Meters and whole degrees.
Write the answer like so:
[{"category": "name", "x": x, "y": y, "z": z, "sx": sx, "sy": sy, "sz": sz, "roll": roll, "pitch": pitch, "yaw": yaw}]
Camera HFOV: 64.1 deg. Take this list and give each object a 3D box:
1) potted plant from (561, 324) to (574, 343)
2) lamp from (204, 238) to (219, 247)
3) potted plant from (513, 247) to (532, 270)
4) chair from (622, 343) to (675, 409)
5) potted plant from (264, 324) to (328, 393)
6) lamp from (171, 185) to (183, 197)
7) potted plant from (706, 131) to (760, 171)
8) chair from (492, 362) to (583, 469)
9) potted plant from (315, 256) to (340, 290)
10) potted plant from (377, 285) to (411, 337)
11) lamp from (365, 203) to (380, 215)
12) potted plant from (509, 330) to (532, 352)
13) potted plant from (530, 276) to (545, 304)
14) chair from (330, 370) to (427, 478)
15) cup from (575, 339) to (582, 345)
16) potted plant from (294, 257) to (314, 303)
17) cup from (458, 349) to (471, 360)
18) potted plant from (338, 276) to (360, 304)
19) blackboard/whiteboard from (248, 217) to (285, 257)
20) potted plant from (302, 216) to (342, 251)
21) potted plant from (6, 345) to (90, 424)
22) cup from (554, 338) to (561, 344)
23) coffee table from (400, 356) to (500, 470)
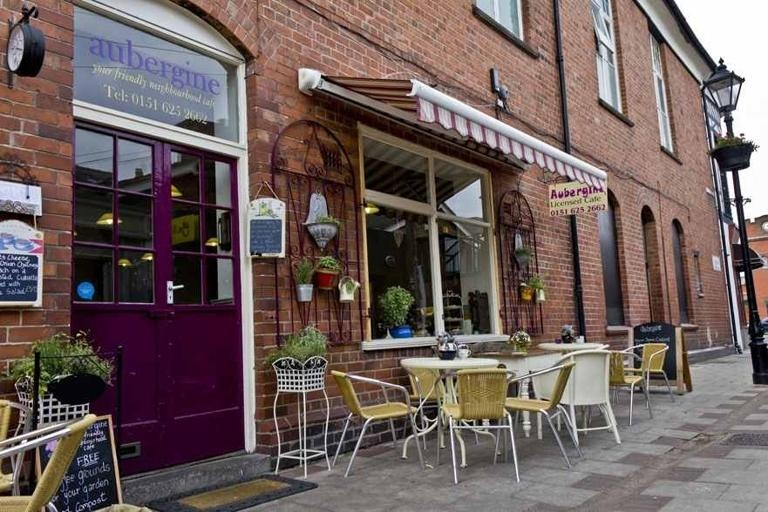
[{"category": "potted plant", "x": 2.920, "y": 1.246, "z": 9.718, "sx": 0.276, "sy": 0.374, "sz": 0.304, "roll": -2, "pitch": -3, "yaw": 17}, {"category": "lamp", "x": -1.926, "y": -0.153, "z": 6.857, "sx": 0.101, "sy": 0.073, "sz": 0.100, "roll": 0, "pitch": 0, "yaw": -8}, {"category": "potted plant", "x": 2.409, "y": 0.037, "z": 10.442, "sx": 0.210, "sy": 0.358, "sz": 0.402, "roll": -1, "pitch": -1, "yaw": 37}, {"category": "chair", "x": 4.415, "y": 2.007, "z": 10.140, "sx": 0.866, "sy": 1.133, "sz": 0.944, "roll": 11, "pitch": -15, "yaw": -41}, {"category": "potted plant", "x": -0.926, "y": 1.197, "z": 6.805, "sx": 0.630, "sy": 0.764, "sz": 0.582, "roll": -1, "pitch": -1, "yaw": 29}, {"category": "lamp", "x": -2.249, "y": -0.700, "z": 6.668, "sx": 0.104, "sy": 0.113, "sz": 0.112, "roll": -10, "pitch": -17, "yaw": 11}, {"category": "potted plant", "x": 7.362, "y": -2.186, "z": 12.975, "sx": 0.556, "sy": 0.807, "sz": 0.743, "roll": 0, "pitch": -1, "yaw": -40}, {"category": "chair", "x": 2.028, "y": 1.690, "z": 7.168, "sx": 1.192, "sy": 1.309, "sz": 1.079, "roll": 1, "pitch": -3, "yaw": 31}, {"category": "potted plant", "x": -0.709, "y": 0.208, "z": 7.442, "sx": 0.354, "sy": 0.360, "sz": 0.338, "roll": 2, "pitch": -6, "yaw": 12}, {"category": "potted plant", "x": 0.118, "y": 0.759, "z": 8.296, "sx": 0.409, "sy": 0.674, "sz": 0.634, "roll": -10, "pitch": -12, "yaw": 36}, {"category": "lamp", "x": -0.165, "y": -0.631, "z": 8.244, "sx": 0.163, "sy": 0.072, "sz": 0.146, "roll": 4, "pitch": -5, "yaw": -45}, {"category": "potted plant", "x": 1.904, "y": 1.185, "z": 8.669, "sx": 0.366, "sy": 0.355, "sz": 0.354, "roll": 5, "pitch": -9, "yaw": -41}, {"category": "potted plant", "x": 2.663, "y": 0.566, "z": 10.605, "sx": 0.232, "sy": 0.512, "sz": 0.390, "roll": -1, "pitch": -1, "yaw": 15}, {"category": "chair", "x": -0.027, "y": 1.806, "z": 7.204, "sx": 1.213, "sy": 1.345, "sz": 1.039, "roll": -1, "pitch": -2, "yaw": -18}, {"category": "cup", "x": 3.143, "y": 1.378, "z": 9.863, "sx": 0.098, "sy": 0.071, "sz": 0.100, "roll": 1, "pitch": -3, "yaw": 0}, {"category": "potted plant", "x": -0.915, "y": 0.281, "z": 7.244, "sx": 0.167, "sy": 0.534, "sz": 0.312, "roll": -1, "pitch": -1, "yaw": 38}, {"category": "cup", "x": 1.007, "y": 1.222, "z": 7.683, "sx": 0.124, "sy": 0.098, "sz": 0.157, "roll": -1, "pitch": -6, "yaw": -2}, {"category": "potted plant", "x": -0.418, "y": 0.419, "z": 7.662, "sx": 0.180, "sy": 0.325, "sz": 0.398, "roll": -1, "pitch": -1, "yaw": 27}, {"category": "blackboard/whiteboard", "x": -1.343, "y": -0.206, "z": 6.911, "sx": 0.459, "sy": 0.499, "sz": 0.066, "roll": -1, "pitch": -1, "yaw": -4}, {"category": "potted plant", "x": -0.753, "y": -0.247, "z": 7.454, "sx": 0.378, "sy": 0.280, "sz": 0.396, "roll": 1, "pitch": -7, "yaw": -13}, {"category": "potted plant", "x": -2.947, "y": 1.160, "z": 5.428, "sx": 0.672, "sy": 0.913, "sz": 0.815, "roll": 6, "pitch": -11, "yaw": -26}, {"category": "cup", "x": 3.084, "y": 1.503, "z": 10.868, "sx": 0.101, "sy": 0.062, "sz": 0.101, "roll": 1, "pitch": -3, "yaw": 0}, {"category": "coffee table", "x": 0.719, "y": 1.738, "z": 7.175, "sx": 1.161, "sy": 1.173, "sz": 1.121, "roll": -1, "pitch": -14, "yaw": 2}]
